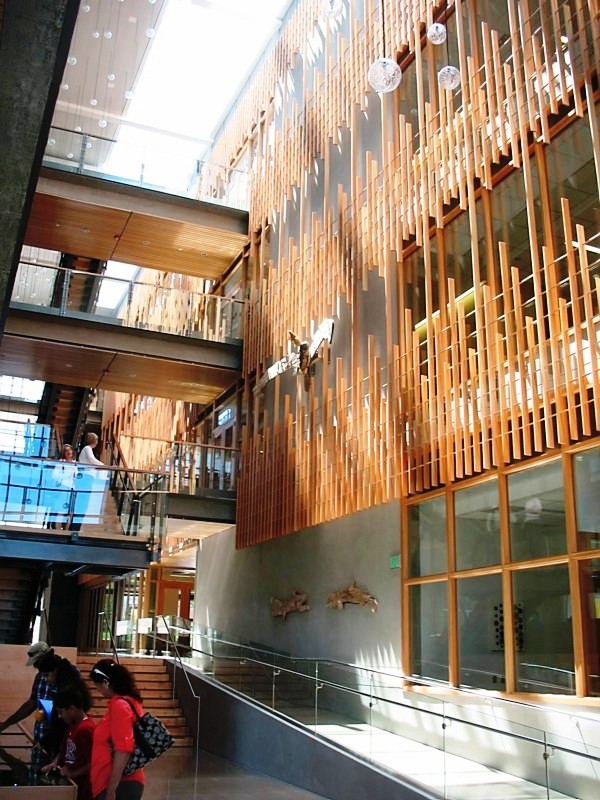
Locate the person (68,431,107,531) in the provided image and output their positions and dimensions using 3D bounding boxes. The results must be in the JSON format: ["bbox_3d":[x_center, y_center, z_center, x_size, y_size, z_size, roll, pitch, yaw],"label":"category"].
[{"bbox_3d":[-3.672,1.404,10.633,0.472,1.610,0.589,13,-37,-25],"label":"person"}]

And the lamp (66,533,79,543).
[{"bbox_3d":[-3.457,2.126,9.462,0.161,0.191,0.148,8,-18,-21],"label":"lamp"}]

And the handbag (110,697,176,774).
[{"bbox_3d":[-0.667,1.456,2.745,0.108,0.228,0.215,-29,-37,-38],"label":"handbag"}]
